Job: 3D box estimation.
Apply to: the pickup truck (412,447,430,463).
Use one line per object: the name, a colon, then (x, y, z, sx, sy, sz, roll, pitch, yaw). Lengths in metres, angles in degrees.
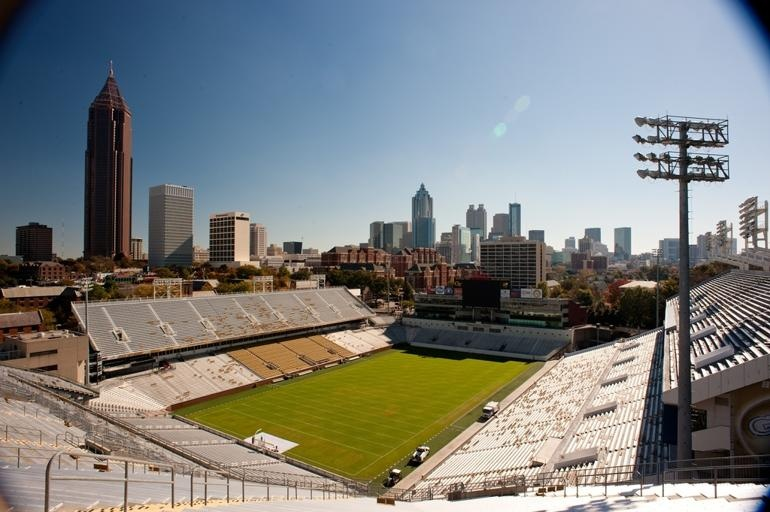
pickup truck: (3.020, 17.240, 55.767, 1.629, 1.091, 0.936, -11, 5, -34)

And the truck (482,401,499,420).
truck: (10.312, 15.173, 63.034, 1.085, 0.822, 1.845, 0, 2, 40)
